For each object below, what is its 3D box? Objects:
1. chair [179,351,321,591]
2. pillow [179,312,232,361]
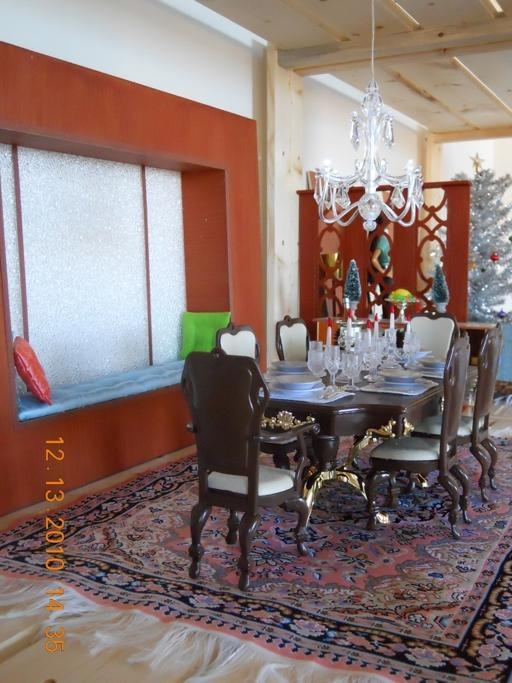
[{"bbox_3d":[-0.064,0.484,2.190,0.522,0.902,0.570,-1,1,16],"label":"chair"},{"bbox_3d":[-0.440,-0.049,4.736,0.428,0.402,0.142,7,1,34],"label":"pillow"}]
